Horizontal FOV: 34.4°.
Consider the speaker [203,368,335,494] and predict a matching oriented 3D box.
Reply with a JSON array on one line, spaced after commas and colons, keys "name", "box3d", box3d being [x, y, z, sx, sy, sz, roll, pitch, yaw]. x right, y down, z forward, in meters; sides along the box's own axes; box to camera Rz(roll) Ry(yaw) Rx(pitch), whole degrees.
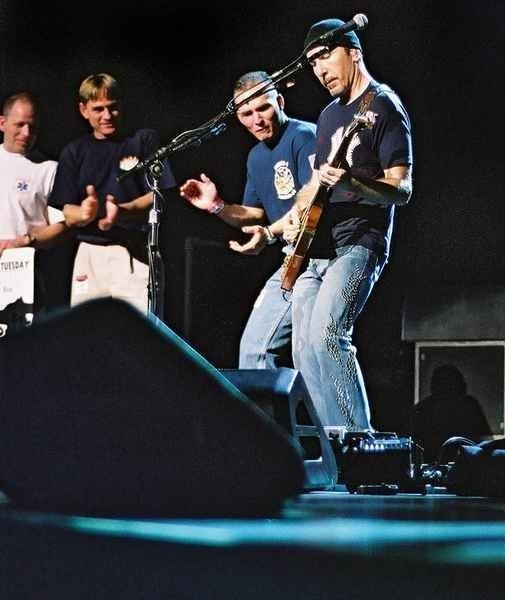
[{"name": "speaker", "box3d": [0.099, 0.338, 2.257, 0.284, 0.375, 0.438, -3, -7, 20]}]

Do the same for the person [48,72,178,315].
[{"name": "person", "box3d": [-0.658, -0.505, 3.740, 0.621, 1.090, 0.194, 0, -5, 41]}]

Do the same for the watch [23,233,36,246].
[{"name": "watch", "box3d": [-1.060, -0.287, 3.867, 0.050, 0.054, 0.026, -9, -35, 9]}]

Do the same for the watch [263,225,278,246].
[{"name": "watch", "box3d": [0.076, -0.266, 3.388, 0.057, 0.069, 0.074, -18, 39, 1]}]

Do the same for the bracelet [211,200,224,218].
[{"name": "bracelet", "box3d": [-0.145, -0.389, 3.488, 0.049, 0.064, 0.067, 35, -16, -5]}]

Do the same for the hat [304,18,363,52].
[{"name": "hat", "box3d": [0.325, -1.079, 3.317, 0.216, 0.102, 0.192, -12, -8, 9]}]

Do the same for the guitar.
[{"name": "guitar", "box3d": [0.237, -0.382, 3.185, 0.154, 0.851, 0.267, 16, 32, -9]}]
